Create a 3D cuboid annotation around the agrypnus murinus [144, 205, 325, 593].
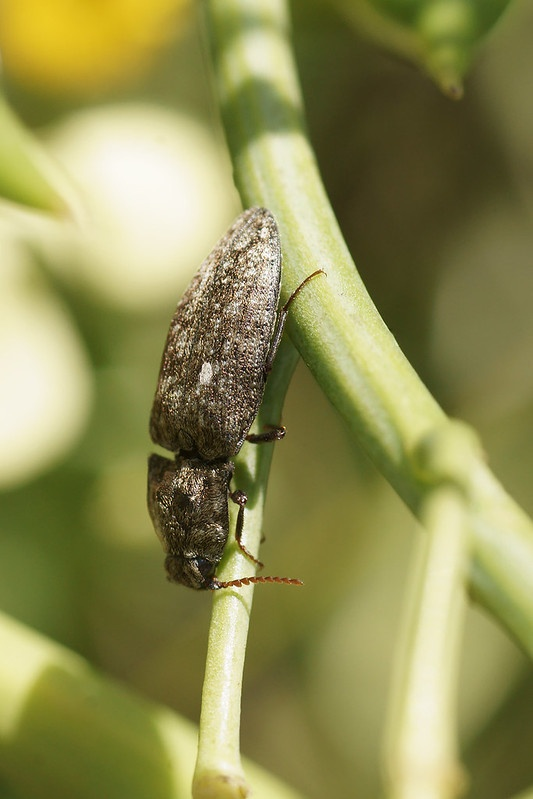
[{"bbox_3d":[0.054,-0.020,1.291,0.244,0.528,0.509,6,72,-30],"label":"agrypnus murinus"}]
